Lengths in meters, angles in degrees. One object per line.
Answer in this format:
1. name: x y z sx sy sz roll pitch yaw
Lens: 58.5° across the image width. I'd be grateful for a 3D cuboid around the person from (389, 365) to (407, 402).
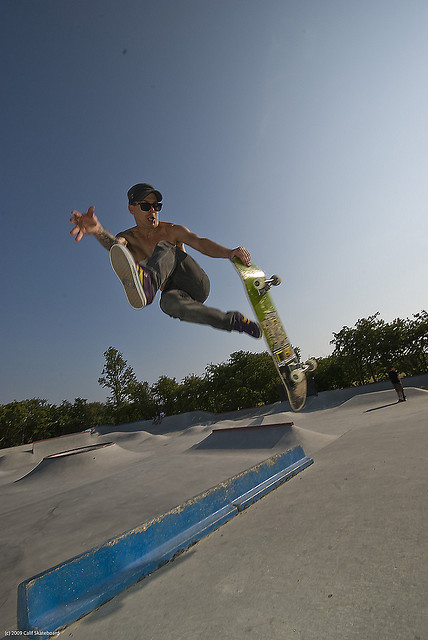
1. person: 5.440 1.892 11.339 0.304 1.003 1.599 -11 -11 23
